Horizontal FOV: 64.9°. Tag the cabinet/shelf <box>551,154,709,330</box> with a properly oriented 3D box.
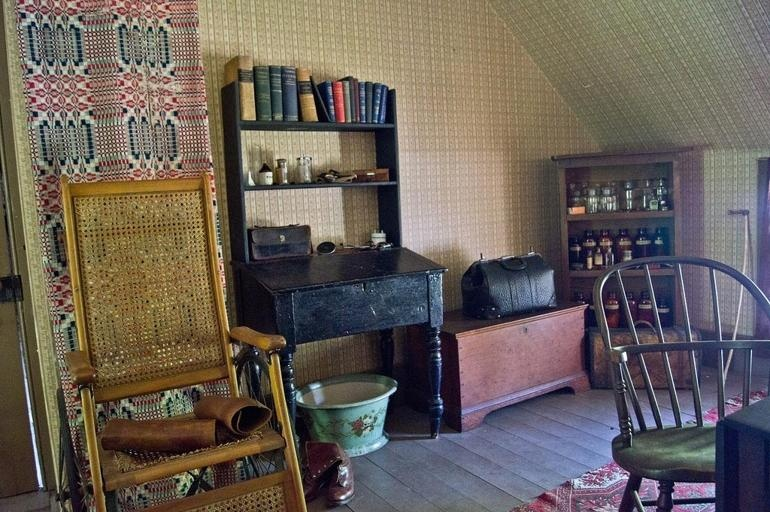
[{"bbox_3d":[1.877,-0.137,4.611,1.354,1.455,0.603,-3,1,10],"label":"cabinet/shelf"}]

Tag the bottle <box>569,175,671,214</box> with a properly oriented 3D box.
[{"bbox_3d":[1.848,-0.481,4.788,0.775,0.245,0.225,-1,13,10],"label":"bottle"}]

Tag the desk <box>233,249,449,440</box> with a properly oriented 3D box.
[{"bbox_3d":[-0.293,0.551,3.947,1.139,1.126,0.848,-4,1,-26],"label":"desk"}]

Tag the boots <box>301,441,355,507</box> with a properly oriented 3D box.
[{"bbox_3d":[-0.348,1.221,3.444,0.368,0.247,0.282,0,14,15],"label":"boots"}]

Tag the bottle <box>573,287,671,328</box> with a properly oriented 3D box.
[{"bbox_3d":[1.714,0.373,4.306,0.431,0.182,0.088,-2,16,7],"label":"bottle"}]

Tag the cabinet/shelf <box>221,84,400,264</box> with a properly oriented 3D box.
[{"bbox_3d":[-0.526,-0.556,4.034,1.208,1.120,0.386,-4,2,-31],"label":"cabinet/shelf"}]

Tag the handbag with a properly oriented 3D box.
[{"bbox_3d":[0.930,0.204,4.490,0.711,0.413,0.400,-6,6,-27],"label":"handbag"}]

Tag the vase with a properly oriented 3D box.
[{"bbox_3d":[-0.262,0.997,3.894,0.514,0.250,0.491,6,16,44],"label":"vase"}]

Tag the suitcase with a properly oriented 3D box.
[{"bbox_3d":[1.616,0.635,3.785,0.692,0.447,0.396,-1,5,7],"label":"suitcase"}]
